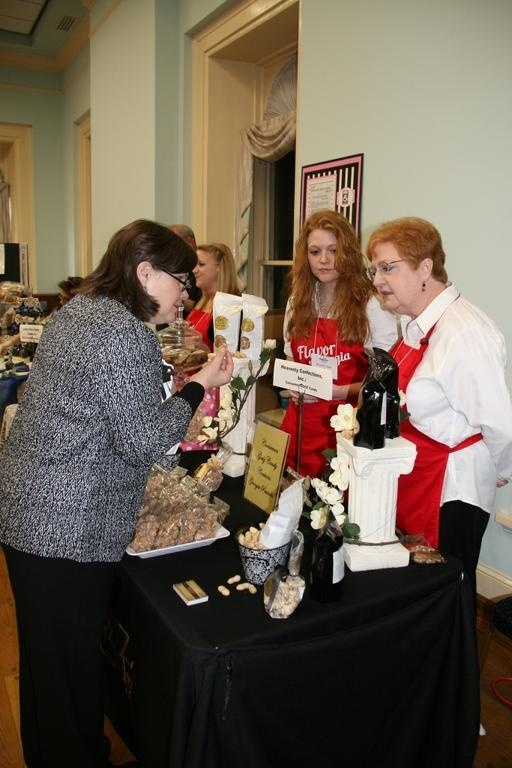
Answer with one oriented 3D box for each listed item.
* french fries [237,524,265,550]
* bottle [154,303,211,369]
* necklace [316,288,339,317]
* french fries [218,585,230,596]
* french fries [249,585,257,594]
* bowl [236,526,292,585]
[{"bbox_3d":[-0.007,0.279,0.991,0.037,0.016,0.039,5,2,27],"label":"french fries"},{"bbox_3d":[-0.188,-0.118,1.369,0.127,0.128,0.124,2,0,-9],"label":"bottle"},{"bbox_3d":[0.283,-0.321,2.152,0.095,0.096,0.026,1,-3,45],"label":"necklace"},{"bbox_3d":[-0.056,0.364,0.956,0.018,0.009,0.028,-3,10,-29],"label":"french fries"},{"bbox_3d":[-0.007,0.364,0.959,0.009,0.006,0.015,-2,8,-9],"label":"french fries"},{"bbox_3d":[0.009,0.311,0.964,0.097,0.073,0.094,2,8,0],"label":"bowl"}]
